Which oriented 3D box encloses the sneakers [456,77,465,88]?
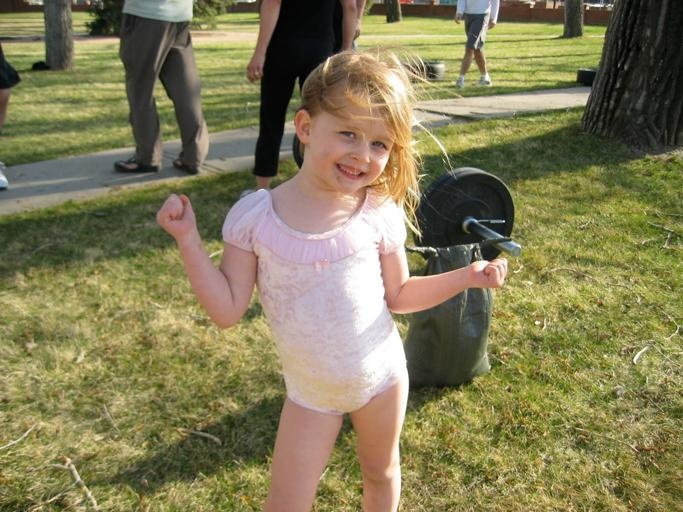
[{"bbox_3d":[1.929,-2.833,9.919,0.133,0.208,0.477,0,14,6],"label":"sneakers"}]
